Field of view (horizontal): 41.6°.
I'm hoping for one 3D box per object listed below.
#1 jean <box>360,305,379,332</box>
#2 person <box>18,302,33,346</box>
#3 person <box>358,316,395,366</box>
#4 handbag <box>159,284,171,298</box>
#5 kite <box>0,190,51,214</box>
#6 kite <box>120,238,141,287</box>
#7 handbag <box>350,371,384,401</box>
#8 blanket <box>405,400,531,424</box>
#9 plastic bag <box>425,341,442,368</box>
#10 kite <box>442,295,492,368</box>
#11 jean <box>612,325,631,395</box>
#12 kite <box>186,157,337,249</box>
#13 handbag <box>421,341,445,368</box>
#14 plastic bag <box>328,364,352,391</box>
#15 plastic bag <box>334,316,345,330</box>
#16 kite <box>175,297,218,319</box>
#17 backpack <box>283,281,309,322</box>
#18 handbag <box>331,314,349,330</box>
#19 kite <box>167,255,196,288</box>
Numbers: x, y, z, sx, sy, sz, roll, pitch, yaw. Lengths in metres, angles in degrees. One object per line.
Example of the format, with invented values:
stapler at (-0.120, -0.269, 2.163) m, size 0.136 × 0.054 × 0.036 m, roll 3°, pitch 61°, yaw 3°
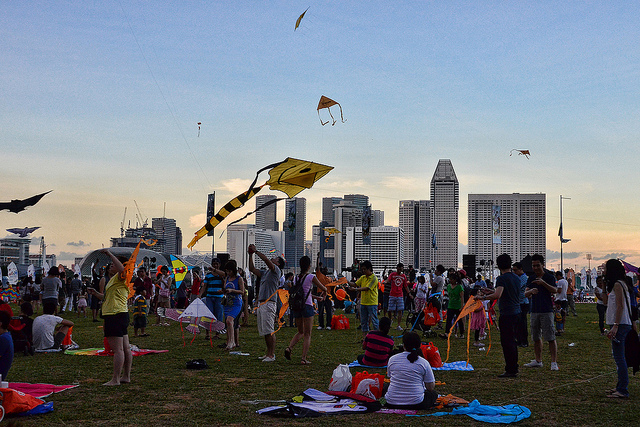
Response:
jean at (1.442, 3.005, 24.980) m, size 0.585 × 1.137 × 0.358 m, roll -8°, pitch 19°, yaw 0°
person at (-8.304, 3.108, 23.871) m, size 0.366 × 1.208 × 1.048 m, roll 4°, pitch -6°, yaw -19°
person at (1.559, 3.300, 21.823) m, size 0.707 × 1.251 × 0.985 m, roll 4°, pitch -6°, yaw -26°
handbag at (-5.673, 2.853, 30.849) m, size 0.338 × 0.403 × 0.439 m, roll -2°, pitch -12°, yaw 10°
kite at (-6.237, -0.205, 17.390) m, size 0.761 × 0.452 × 1.298 m, roll 2°, pitch -5°, yaw -12°
kite at (-4.841, 1.282, 21.547) m, size 0.372 × 1.156 × 2.361 m, roll 3°, pitch -5°, yaw -12°
handbag at (1.094, 3.936, 19.410) m, size 0.750 × 0.713 × 0.448 m, roll 14°, pitch -20°, yaw 14°
blanket at (3.918, 4.421, 18.681) m, size 1.066 × 0.113 × 0.779 m, roll -2°, pitch 2°, yaw -2°
plastic bag at (2.962, 3.708, 22.125) m, size 0.384 × 0.616 × 0.578 m, roll -3°, pitch -7°, yaw 42°
kite at (4.351, 3.513, 24.846) m, size 1.747 × 2.105 × 1.623 m, roll 12°, pitch -15°, yaw -34°
jean at (7.049, 3.390, 19.664) m, size 0.429 × 1.587 × 0.181 m, roll 2°, pitch -6°, yaw -2°
kite at (-0.482, -0.180, 20.206) m, size 3.245 × 0.623 × 2.015 m, roll -21°, pitch -19°, yaw 26°
handbag at (2.962, 3.705, 22.104) m, size 0.622 × 0.615 × 0.400 m, roll 1°, pitch -5°, yaw 3°
plastic bag at (0.482, 3.888, 19.899) m, size 0.474 × 0.515 × 0.274 m, roll 29°, pitch -17°, yaw -28°
plastic bag at (0.705, 3.962, 30.685) m, size 0.424 × 0.423 × 0.330 m, roll 9°, pitch -22°, yaw -23°
kite at (-3.596, 2.762, 24.739) m, size 0.978 × 0.557 × 0.653 m, roll 2°, pitch -5°, yaw -10°
backpack at (-0.583, 2.381, 22.685) m, size 0.547 × 1.063 × 0.460 m, roll 3°, pitch -6°, yaw -11°
handbag at (0.708, 3.986, 30.806) m, size 0.492 × 0.428 × 0.463 m, roll 2°, pitch -13°, yaw -8°
kite at (-5.870, 2.450, 35.148) m, size 0.728 × 1.254 × 2.932 m, roll 2°, pitch -5°, yaw -9°
